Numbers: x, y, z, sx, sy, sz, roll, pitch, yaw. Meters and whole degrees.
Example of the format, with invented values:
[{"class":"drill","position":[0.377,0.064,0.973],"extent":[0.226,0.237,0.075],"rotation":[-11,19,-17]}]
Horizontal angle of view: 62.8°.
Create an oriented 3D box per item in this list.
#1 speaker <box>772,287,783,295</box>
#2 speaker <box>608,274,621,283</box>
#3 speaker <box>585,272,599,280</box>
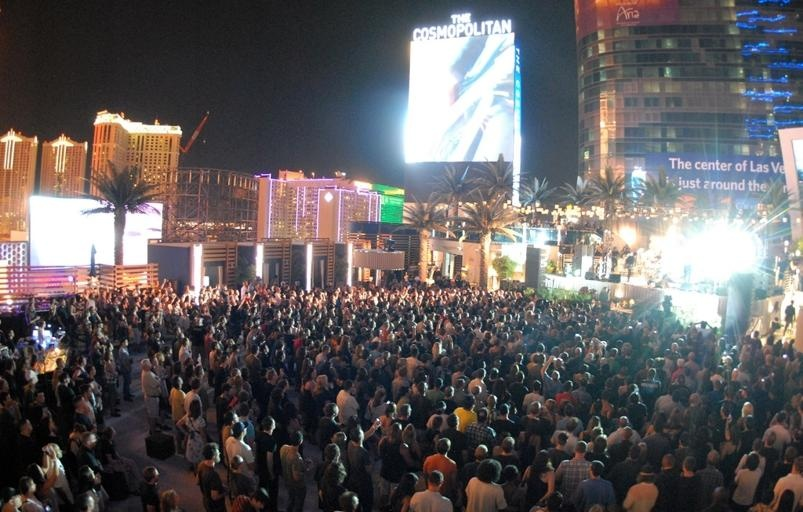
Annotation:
[{"class":"speaker","position":[21.108,2.028,37.337],"extent":[0.535,0.482,0.137],"rotation":[1,-18,-6]},{"class":"speaker","position":[13.378,1.467,41.606],"extent":[0.588,0.287,0.548],"rotation":[0,2,-6]},{"class":"speaker","position":[12.505,1.386,43.790],"extent":[0.550,0.391,0.537],"rotation":[1,2,-24]}]
